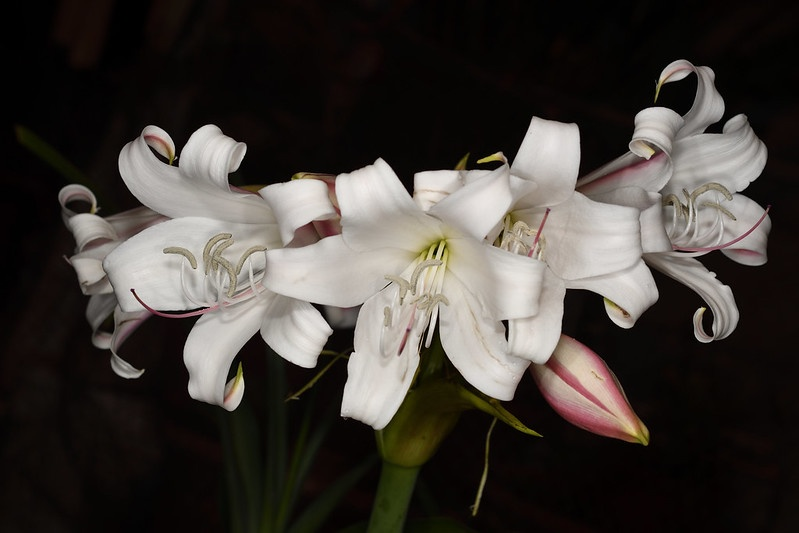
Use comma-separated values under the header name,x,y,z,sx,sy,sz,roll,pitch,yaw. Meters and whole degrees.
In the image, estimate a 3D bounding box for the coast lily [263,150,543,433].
name,x,y,z,sx,sy,sz,roll,pitch,yaw
coast lily,0.085,0.007,1.664,0.569,0.601,0.234,25,20,6
